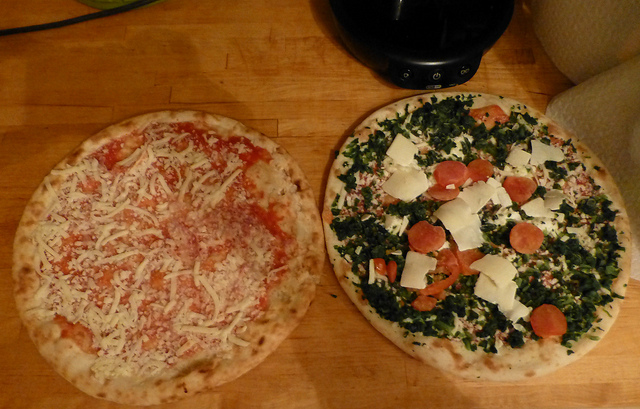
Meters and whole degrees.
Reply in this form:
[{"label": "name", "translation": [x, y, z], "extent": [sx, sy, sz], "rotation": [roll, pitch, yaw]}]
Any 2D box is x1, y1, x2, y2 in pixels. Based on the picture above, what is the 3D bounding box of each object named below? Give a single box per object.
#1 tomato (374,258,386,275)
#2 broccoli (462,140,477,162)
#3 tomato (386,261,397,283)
[{"label": "tomato", "translation": [0.277, 0.289, 3.158], "extent": [0.054, 0.019, 0.076], "rotation": [-2, 83, 1]}, {"label": "broccoli", "translation": [0.710, -0.263, 3.275], "extent": [0.079, 0.026, 0.084], "rotation": [-40, 96, -30]}, {"label": "tomato", "translation": [0.332, 0.309, 3.150], "extent": [0.051, 0.030, 0.087], "rotation": [0, 85, 7]}]
